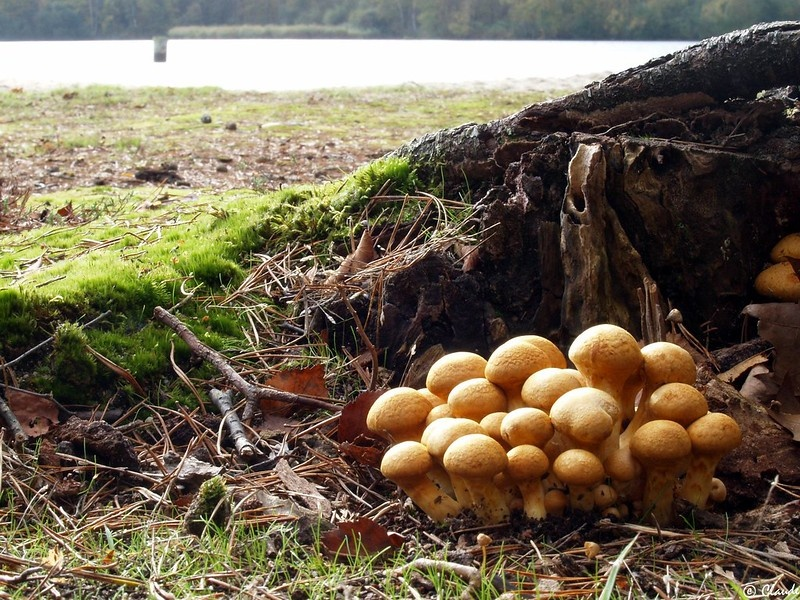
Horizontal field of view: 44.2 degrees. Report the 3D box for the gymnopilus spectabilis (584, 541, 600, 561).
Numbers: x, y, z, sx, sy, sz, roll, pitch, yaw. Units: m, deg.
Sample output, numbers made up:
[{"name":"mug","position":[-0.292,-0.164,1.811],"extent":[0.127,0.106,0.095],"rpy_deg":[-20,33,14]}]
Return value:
[{"name":"gymnopilus spectabilis","position":[1.012,1.319,5.270],"extent":[0.079,0.102,0.108],"rpy_deg":[2,20,10]}]
